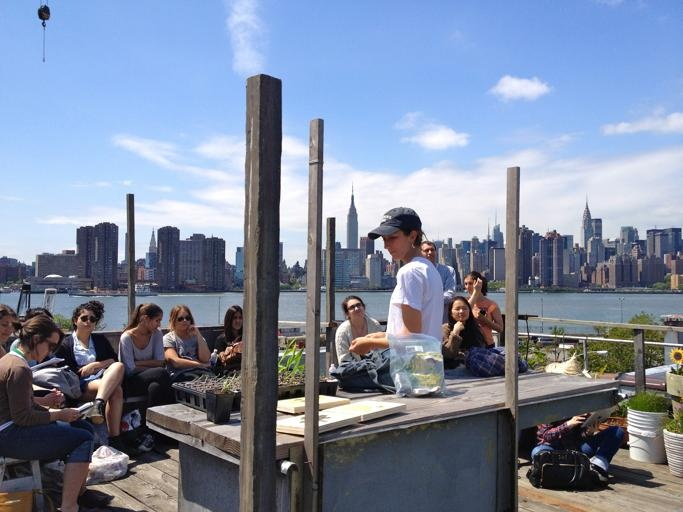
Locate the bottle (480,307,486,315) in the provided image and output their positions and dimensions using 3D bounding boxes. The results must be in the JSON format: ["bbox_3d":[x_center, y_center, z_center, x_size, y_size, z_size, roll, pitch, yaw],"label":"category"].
[{"bbox_3d":[1.464,0.573,7.196,0.065,0.070,0.017,-3,-15,38],"label":"bottle"}]

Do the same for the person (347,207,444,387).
[{"bbox_3d":[0.394,0.173,4.864,0.614,1.013,0.448,-2,-4,6],"label":"person"}]

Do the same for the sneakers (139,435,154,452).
[{"bbox_3d":[-1.895,1.816,6.776,0.136,0.169,0.054,1,-5,-31],"label":"sneakers"}]

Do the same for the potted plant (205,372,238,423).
[{"bbox_3d":[-0.754,0.922,4.495,0.221,0.334,0.210,1,-8,2],"label":"potted plant"}]

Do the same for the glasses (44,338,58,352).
[{"bbox_3d":[-2.379,0.720,5.702,0.037,0.124,0.114,-4,-16,18],"label":"glasses"}]

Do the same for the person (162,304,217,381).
[{"bbox_3d":[-1.679,0.938,7.510,0.564,0.912,0.780,4,-13,-42],"label":"person"}]

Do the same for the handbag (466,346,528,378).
[{"bbox_3d":[1.271,0.872,5.765,0.359,0.142,0.302,3,-6,-25],"label":"handbag"}]
